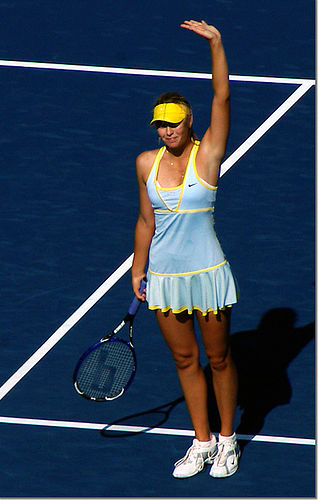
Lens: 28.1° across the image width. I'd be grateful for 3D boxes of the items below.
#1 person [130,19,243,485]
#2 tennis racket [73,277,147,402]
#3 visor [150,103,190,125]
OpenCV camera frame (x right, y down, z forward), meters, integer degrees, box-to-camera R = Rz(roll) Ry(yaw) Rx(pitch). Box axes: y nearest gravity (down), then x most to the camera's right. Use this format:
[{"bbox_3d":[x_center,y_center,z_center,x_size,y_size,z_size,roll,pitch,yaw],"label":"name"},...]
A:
[{"bbox_3d":[0.147,0.097,3.652,0.651,2.636,0.467,3,14,14],"label":"person"},{"bbox_3d":[-0.319,0.650,4.074,0.420,0.796,0.468,-1,13,-2],"label":"tennis racket"},{"bbox_3d":[0.059,-0.710,3.307,0.203,0.105,0.140,0,13,1],"label":"visor"}]
